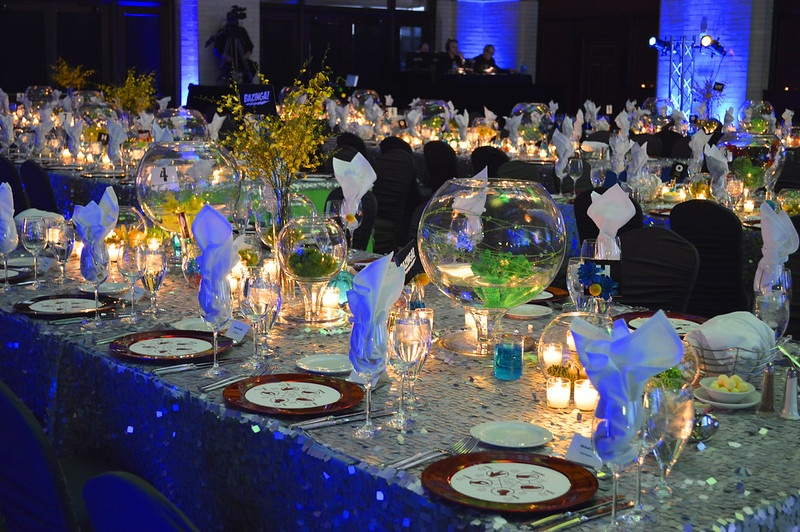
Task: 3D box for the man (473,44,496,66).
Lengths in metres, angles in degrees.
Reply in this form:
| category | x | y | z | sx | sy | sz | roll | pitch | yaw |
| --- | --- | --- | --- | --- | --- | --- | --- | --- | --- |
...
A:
| category | x | y | z | sx | sy | sz | roll | pitch | yaw |
| --- | --- | --- | --- | --- | --- | --- | --- | --- | --- |
| man | 2.036 | -4.986 | 15.760 | 0.520 | 0.579 | 0.625 | -1 | 9 | -12 |

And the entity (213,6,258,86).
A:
| category | x | y | z | sx | sy | sz | roll | pitch | yaw |
| --- | --- | --- | --- | --- | --- | --- | --- | --- | --- |
| entity | -3.431 | -4.739 | 14.119 | 0.782 | 1.676 | 1.148 | -3 | 10 | -24 |

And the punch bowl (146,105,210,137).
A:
| category | x | y | z | sx | sy | sz | roll | pitch | yaw |
| --- | --- | --- | --- | --- | --- | --- | --- | --- | --- |
| punch bowl | -2.134 | -1.397 | 6.549 | 0.440 | 0.410 | 0.454 | 1 | 7 | 0 |

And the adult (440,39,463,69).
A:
| category | x | y | z | sx | sy | sz | roll | pitch | yaw |
| --- | --- | --- | --- | --- | --- | --- | --- | --- | --- |
| adult | 1.292 | -4.951 | 15.566 | 0.511 | 0.721 | 0.589 | 2 | 9 | 9 |

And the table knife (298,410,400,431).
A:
| category | x | y | z | sx | sy | sz | roll | pitch | yaw |
| --- | --- | --- | --- | --- | --- | --- | --- | --- | --- |
| table knife | -0.129 | 0.393 | 1.690 | 0.311 | 0.029 | 0.040 | -2 | 3 | -35 |

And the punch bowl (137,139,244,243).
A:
| category | x | y | z | sx | sy | sz | roll | pitch | yaw |
| --- | --- | --- | --- | --- | --- | --- | --- | --- | --- |
| punch bowl | -0.892 | -0.353 | 3.071 | 0.429 | 0.426 | 0.439 | -2 | 9 | 0 |

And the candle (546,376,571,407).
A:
| category | x | y | z | sx | sy | sz | roll | pitch | yaw |
| --- | --- | --- | --- | --- | --- | --- | --- | --- | --- |
| candle | 0.429 | 0.340 | 1.828 | 0.073 | 0.078 | 0.069 | -1 | 4 | -21 |

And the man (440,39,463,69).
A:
| category | x | y | z | sx | sy | sz | roll | pitch | yaw |
| --- | --- | --- | --- | --- | --- | --- | --- | --- | --- |
| man | 1.285 | -4.943 | 15.523 | 0.504 | 0.717 | 0.509 | 3 | 9 | 10 |

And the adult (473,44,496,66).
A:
| category | x | y | z | sx | sy | sz | roll | pitch | yaw |
| --- | --- | --- | --- | --- | --- | --- | --- | --- | --- |
| adult | 2.034 | -5.014 | 15.862 | 0.492 | 0.606 | 0.819 | 2 | 8 | 5 |

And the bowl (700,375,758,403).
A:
| category | x | y | z | sx | sy | sz | roll | pitch | yaw |
| --- | --- | --- | --- | --- | --- | --- | --- | --- | --- |
| bowl | 0.908 | 0.335 | 1.835 | 0.095 | 0.047 | 0.091 | -1 | 4 | 0 |

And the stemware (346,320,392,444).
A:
| category | x | y | z | sx | sy | sz | roll | pitch | yaw |
| --- | --- | --- | --- | --- | --- | --- | --- | --- | --- |
| stemware | -0.076 | 0.266 | 1.671 | 0.106 | 0.320 | 0.100 | -1 | -8 | 9 |

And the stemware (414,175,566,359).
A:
| category | x | y | z | sx | sy | sz | roll | pitch | yaw |
| --- | --- | --- | --- | --- | --- | --- | --- | --- | --- |
| stemware | 0.309 | -0.008 | 2.257 | 0.514 | 0.569 | 0.529 | 8 | 14 | 37 |

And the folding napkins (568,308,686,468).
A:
| category | x | y | z | sx | sy | sz | roll | pitch | yaw |
| --- | --- | --- | --- | --- | --- | --- | --- | --- | --- |
| folding napkins | 0.440 | 0.254 | 1.306 | 0.256 | 0.279 | 0.230 | 10 | -12 | -9 |

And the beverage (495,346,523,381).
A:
| category | x | y | z | sx | sy | sz | roll | pitch | yaw |
| --- | --- | --- | --- | --- | --- | --- | --- | --- | --- |
| beverage | 0.321 | 0.282 | 1.951 | 0.095 | 0.106 | 0.095 | 0 | -3 | 7 |

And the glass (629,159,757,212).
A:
| category | x | y | z | sx | sy | sz | roll | pitch | yaw |
| --- | --- | --- | --- | --- | --- | --- | --- | --- | --- |
| glass | 2.124 | -0.623 | 5.074 | 0.877 | 0.376 | 1.311 | 1 | 8 | -2 |

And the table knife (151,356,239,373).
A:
| category | x | y | z | sx | sy | sz | roll | pitch | yaw |
| --- | --- | --- | --- | --- | --- | --- | --- | --- | --- |
| table knife | -0.627 | 0.297 | 2.012 | 0.173 | 0.017 | 0.028 | -7 | 15 | -35 |

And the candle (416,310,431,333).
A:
| category | x | y | z | sx | sy | sz | roll | pitch | yaw |
| --- | --- | --- | --- | --- | --- | --- | --- | --- | --- |
| candle | 0.073 | 0.142 | 1.787 | 0.032 | 0.054 | 0.053 | -6 | 13 | -3 |

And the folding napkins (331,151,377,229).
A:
| category | x | y | z | sx | sy | sz | roll | pitch | yaw |
| --- | --- | --- | --- | --- | --- | --- | --- | --- | --- |
| folding napkins | -0.222 | -0.307 | 3.159 | 0.189 | 0.213 | 0.261 | -3 | -5 | -21 |

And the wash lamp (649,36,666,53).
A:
| category | x | y | z | sx | sy | sz | roll | pitch | yaw |
| --- | --- | --- | --- | --- | --- | --- | --- | --- | --- |
| wash lamp | 6.159 | -5.219 | 15.676 | 0.309 | 0.326 | 0.659 | 9 | 12 | 44 |
